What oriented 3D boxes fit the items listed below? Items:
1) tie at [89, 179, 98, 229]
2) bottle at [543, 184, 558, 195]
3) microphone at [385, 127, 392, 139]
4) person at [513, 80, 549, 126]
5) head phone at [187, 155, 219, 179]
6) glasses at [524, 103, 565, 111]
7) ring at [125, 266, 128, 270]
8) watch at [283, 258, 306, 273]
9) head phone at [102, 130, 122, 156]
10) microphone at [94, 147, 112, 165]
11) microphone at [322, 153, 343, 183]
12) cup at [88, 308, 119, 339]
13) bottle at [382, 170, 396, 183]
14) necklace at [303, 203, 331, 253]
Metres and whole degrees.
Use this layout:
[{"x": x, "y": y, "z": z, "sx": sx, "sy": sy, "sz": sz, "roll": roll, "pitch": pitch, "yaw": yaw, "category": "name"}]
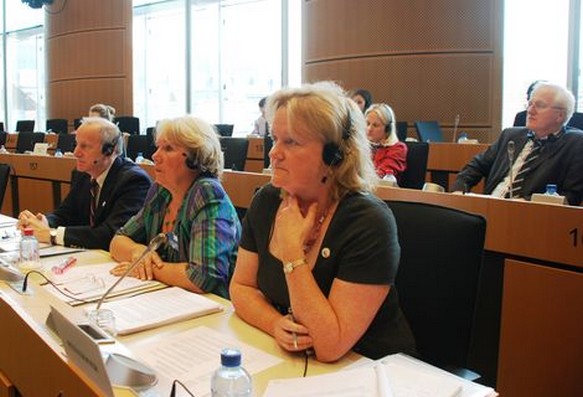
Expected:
[{"x": -1.320, "y": 0.025, "z": 3.005, "sx": 0.066, "sy": 0.322, "sz": 0.037, "roll": 0, "pitch": -2, "yaw": 12, "category": "tie"}, {"x": 1.784, "y": -0.058, "z": 3.096, "sx": 0.080, "sy": 0.110, "sz": 0.085, "roll": 0, "pitch": -2, "yaw": 0, "category": "bottle"}, {"x": 0.897, "y": -0.600, "z": 4.159, "sx": 0.062, "sy": 0.090, "sz": 0.032, "roll": -5, "pitch": -11, "yaw": 41, "category": "microphone"}, {"x": 2.421, "y": -0.954, "z": 4.473, "sx": 0.232, "sy": 0.185, "sz": 0.780, "roll": -17, "pitch": -33, "yaw": 25, "category": "person"}, {"x": -0.454, "y": -0.151, "z": 2.254, "sx": 0.080, "sy": 0.039, "sz": 0.107, "roll": 5, "pitch": -32, "yaw": 49, "category": "head phone"}, {"x": 1.953, "y": -0.709, "z": 3.467, "sx": 0.248, "sy": 0.063, "sz": 0.105, "roll": 6, "pitch": 8, "yaw": 32, "category": "glasses"}, {"x": -0.758, "y": 0.323, "z": 2.070, "sx": 0.004, "sy": 0.014, "sz": 0.013, "roll": 4, "pitch": -19, "yaw": -9, "category": "ring"}, {"x": 0.001, "y": 0.221, "z": 1.543, "sx": 0.051, "sy": 0.028, "sz": 0.053, "roll": -22, "pitch": -2, "yaw": 26, "category": "watch"}, {"x": -1.171, "y": -0.365, "z": 2.978, "sx": 0.102, "sy": 0.145, "sz": 0.136, "roll": -1, "pitch": 3, "yaw": -18, "category": "head phone"}, {"x": -1.210, "y": -0.279, "z": 2.967, "sx": 0.117, "sy": 0.115, "sz": 0.093, "roll": -5, "pitch": -3, "yaw": 20, "category": "microphone"}, {"x": 0.143, "y": -0.112, "z": 1.655, "sx": 0.033, "sy": 0.107, "sz": 0.075, "roll": 8, "pitch": -4, "yaw": 40, "category": "microphone"}, {"x": -0.653, "y": 0.430, "z": 1.572, "sx": 0.100, "sy": 0.102, "sz": 0.104, "roll": 1, "pitch": 0, "yaw": 0, "category": "cup"}, {"x": 0.748, "y": -0.170, "z": 3.469, "sx": 0.083, "sy": 0.145, "sz": 0.078, "roll": -1, "pitch": 39, "yaw": 1, "category": "bottle"}, {"x": 0.087, "y": 0.113, "z": 1.694, "sx": 0.080, "sy": 0.168, "sz": 0.130, "roll": 3, "pitch": 8, "yaw": 4, "category": "necklace"}]
